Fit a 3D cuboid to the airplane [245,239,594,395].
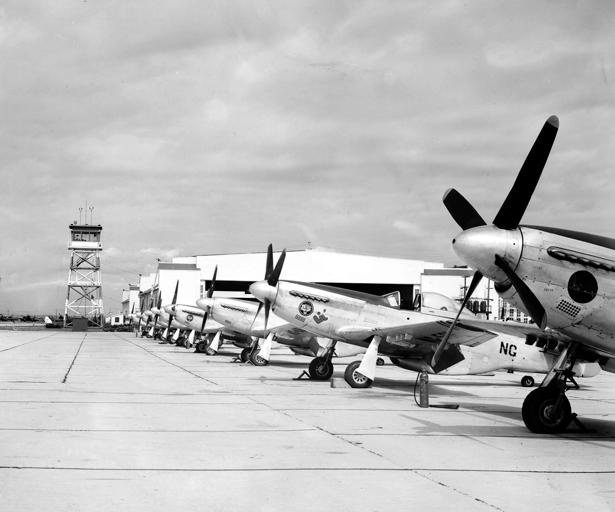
[{"bbox_3d":[2.609,1.881,16.145,6.066,1.642,5.510,10,-7,-10],"label":"airplane"}]
